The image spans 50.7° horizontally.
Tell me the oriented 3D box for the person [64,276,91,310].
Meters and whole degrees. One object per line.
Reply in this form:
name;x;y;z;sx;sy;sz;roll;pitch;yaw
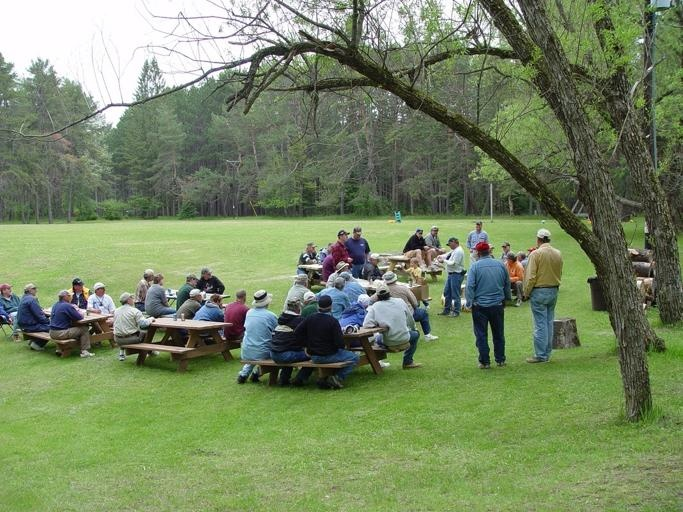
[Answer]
person;-6.641;1.031;18.149;0.611;0.860;0.703;3;10;5

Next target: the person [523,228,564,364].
person;3.825;0.799;13.672;0.580;2.459;0.794;3;14;35

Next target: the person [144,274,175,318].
person;-4.409;0.945;17.549;0.809;0.974;0.728;2;2;-31

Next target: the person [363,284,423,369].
person;0.962;1.415;14.184;1.374;1.610;1.132;-1;-8;-28

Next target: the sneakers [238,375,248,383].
sneakers;-1.937;2.369;13.907;0.127;0.119;0.138;5;-17;-25

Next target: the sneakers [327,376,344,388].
sneakers;-0.135;2.309;13.235;0.141;0.179;0.421;-1;-6;23

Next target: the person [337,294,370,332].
person;0.162;1.157;14.633;0.674;0.389;1.077;2;32;-2

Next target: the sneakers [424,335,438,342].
sneakers;2.019;1.832;16.134;0.346;0.144;0.122;0;1;-22

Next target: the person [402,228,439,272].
person;2.531;-0.160;23.340;1.320;1.566;1.049;2;18;24

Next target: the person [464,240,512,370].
person;2.731;0.924;13.594;0.854;2.325;0.571;-7;12;-10

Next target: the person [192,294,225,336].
person;-2.869;1.308;15.650;0.685;0.813;0.498;13;12;27

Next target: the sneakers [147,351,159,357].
sneakers;-4.281;2.205;16.244;0.146;0.082;0.280;0;2;21

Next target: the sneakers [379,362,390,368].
sneakers;0.845;2.166;14.380;0.212;0.091;0.073;-6;-3;42

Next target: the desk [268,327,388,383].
desk;0.041;1.917;13.600;1.476;0.702;1.397;0;3;29

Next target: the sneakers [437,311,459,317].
sneakers;2.774;1.498;18.768;0.489;0.201;0.167;1;-2;18

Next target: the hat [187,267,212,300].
hat;-3.589;0.644;18.865;0.593;0.784;0.580;-3;2;-38

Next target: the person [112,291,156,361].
person;-4.666;1.567;15.950;0.977;1.415;1.011;-4;-5;21

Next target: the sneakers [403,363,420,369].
sneakers;1.368;2.140;14.122;0.322;0.131;0.109;-6;-7;5
